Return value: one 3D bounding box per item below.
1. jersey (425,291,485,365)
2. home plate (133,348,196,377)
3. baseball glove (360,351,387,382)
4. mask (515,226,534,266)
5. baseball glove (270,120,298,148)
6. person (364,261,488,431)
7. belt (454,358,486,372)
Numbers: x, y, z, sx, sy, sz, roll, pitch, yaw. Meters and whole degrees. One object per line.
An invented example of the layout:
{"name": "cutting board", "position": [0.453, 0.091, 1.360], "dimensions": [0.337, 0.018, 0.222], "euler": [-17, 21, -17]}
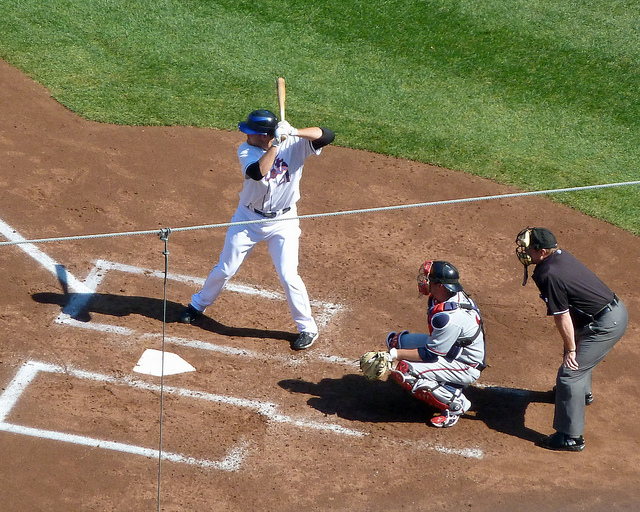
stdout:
{"name": "jersey", "position": [1.291, 0.716, 8.917], "dimensions": [0.725, 0.728, 0.956], "euler": [3, 9, -1]}
{"name": "home plate", "position": [-1.554, 1.094, 9.033], "dimensions": [0.577, 0.067, 0.379], "euler": [14, 32, 2]}
{"name": "baseball glove", "position": [0.535, 1.051, 8.754], "dimensions": [0.277, 0.255, 0.277], "euler": [12, 13, 9]}
{"name": "mask", "position": [2.015, -0.097, 8.786], "dimensions": [0.276, 0.357, 0.304], "euler": [-2, 15, -1]}
{"name": "baseball glove", "position": [-0.330, -1.155, 8.611], "dimensions": [0.327, 0.242, 0.078], "euler": [13, -4, 14]}
{"name": "person", "position": [1.266, 0.810, 8.875], "dimensions": [1.199, 1.452, 1.247], "euler": [22, 36, 4]}
{"name": "belt", "position": [1.479, 1.081, 8.740], "dimensions": [0.192, 0.046, 0.163], "euler": [16, 8, -27]}
